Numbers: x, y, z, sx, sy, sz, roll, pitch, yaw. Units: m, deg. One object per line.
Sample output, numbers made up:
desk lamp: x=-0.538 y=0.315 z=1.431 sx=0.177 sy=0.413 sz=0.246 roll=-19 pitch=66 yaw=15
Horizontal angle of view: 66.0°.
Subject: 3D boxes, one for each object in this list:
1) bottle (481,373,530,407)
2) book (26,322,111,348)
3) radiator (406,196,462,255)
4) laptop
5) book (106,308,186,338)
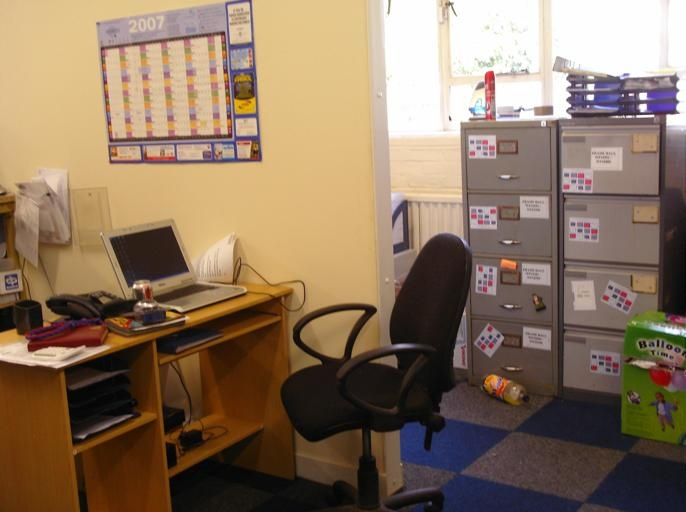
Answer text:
bottle: x=1.069 y=0.848 z=3.485 sx=0.138 sy=0.138 sz=0.267 roll=-7 pitch=17 yaw=-44
book: x=-1.098 y=0.326 z=2.128 sx=0.281 sy=0.066 sz=0.203 roll=-8 pitch=15 yaw=-22
radiator: x=0.667 y=-0.253 z=3.813 sx=0.422 sy=0.433 sz=0.044 roll=5 pitch=12 yaw=24
laptop: x=-0.813 y=0.029 z=2.603 sx=0.505 sy=0.380 sz=0.476 roll=3 pitch=12 yaw=28
book: x=-0.823 y=0.287 z=2.246 sx=0.166 sy=0.044 sz=0.170 roll=5 pitch=9 yaw=31
